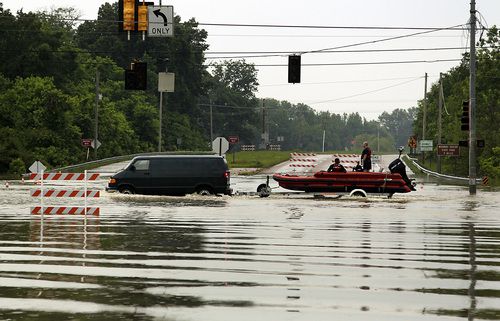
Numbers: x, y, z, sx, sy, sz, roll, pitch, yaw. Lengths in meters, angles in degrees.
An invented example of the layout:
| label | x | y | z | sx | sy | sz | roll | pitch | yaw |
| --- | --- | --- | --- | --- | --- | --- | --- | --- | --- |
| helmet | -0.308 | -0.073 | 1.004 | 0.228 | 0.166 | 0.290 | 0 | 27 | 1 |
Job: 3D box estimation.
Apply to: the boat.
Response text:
| label | x | y | z | sx | sy | sz | roll | pitch | yaw |
| --- | --- | --- | --- | --- | --- | --- | --- | --- | --- |
| boat | 5.731 | 1.312 | 48.396 | 8.823 | 1.292 | 2.451 | 2 | -3 | -1 |

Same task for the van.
| label | x | y | z | sx | sy | sz | roll | pitch | yaw |
| --- | --- | --- | --- | --- | --- | --- | --- | --- | --- |
| van | -4.891 | 0.915 | 48.702 | 6.659 | 2.220 | 2.818 | 2 | -1 | -1 |

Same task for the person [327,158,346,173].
| label | x | y | z | sx | sy | sz | roll | pitch | yaw |
| --- | --- | --- | --- | --- | --- | --- | --- | --- | --- |
| person | 6.184 | 0.324 | 56.801 | 0.975 | 1.658 | 0.738 | 8 | 21 | 14 |

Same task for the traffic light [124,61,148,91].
| label | x | y | z | sx | sy | sz | roll | pitch | yaw |
| --- | --- | --- | --- | --- | --- | --- | --- | --- | --- |
| traffic light | -7.379 | -5.469 | 51.096 | 1.309 | 1.875 | 1.098 | 2 | -3 | -9 |
